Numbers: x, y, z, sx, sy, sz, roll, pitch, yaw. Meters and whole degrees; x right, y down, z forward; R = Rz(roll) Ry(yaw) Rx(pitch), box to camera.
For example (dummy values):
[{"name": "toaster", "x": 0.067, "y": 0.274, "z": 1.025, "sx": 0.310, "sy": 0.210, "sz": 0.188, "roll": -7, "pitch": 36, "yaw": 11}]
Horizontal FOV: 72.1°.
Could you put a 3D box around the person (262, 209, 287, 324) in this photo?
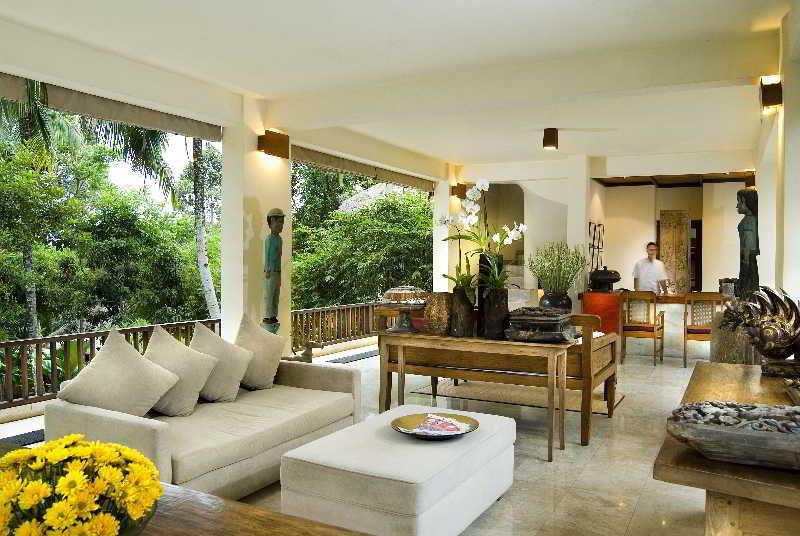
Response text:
[{"name": "person", "x": -1.453, "y": 0.021, "z": 6.257, "sx": 0.233, "sy": 1.388, "sz": 0.355, "roll": 0, "pitch": 1, "yaw": -14}]

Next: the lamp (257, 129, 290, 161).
[{"name": "lamp", "x": -1.579, "y": -1.521, "z": 6.759, "sx": 0.132, "sy": 0.259, "sz": 0.441, "roll": 1, "pitch": 0, "yaw": 27}]

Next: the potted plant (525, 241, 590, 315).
[{"name": "potted plant", "x": 2.364, "y": 0.091, "z": 8.326, "sx": 0.763, "sy": 0.995, "sz": 1.281, "roll": 0, "pitch": 0, "yaw": 17}]

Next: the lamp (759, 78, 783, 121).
[{"name": "lamp", "x": 3.287, "y": -1.531, "z": 4.879, "sx": 0.153, "sy": 0.240, "sz": 0.362, "roll": 0, "pitch": 0, "yaw": 37}]

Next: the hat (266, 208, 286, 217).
[{"name": "hat", "x": -1.417, "y": -0.632, "z": 6.257, "sx": 0.162, "sy": 0.096, "sz": 0.175, "roll": 0, "pitch": 0, "yaw": -15}]

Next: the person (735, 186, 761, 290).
[{"name": "person", "x": 3.558, "y": -0.253, "z": 5.643, "sx": 0.178, "sy": 1.096, "sz": 0.549, "roll": 0, "pitch": 0, "yaw": 31}]

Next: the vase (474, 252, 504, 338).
[{"name": "vase", "x": 0.740, "y": 0.222, "z": 4.433, "sx": 0.251, "sy": 0.673, "sz": 0.709, "roll": 0, "pitch": 0, "yaw": 8}]

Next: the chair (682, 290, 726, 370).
[{"name": "chair", "x": 4.204, "y": 0.868, "z": 7.641, "sx": 0.499, "sy": 1.042, "sz": 3.155, "roll": 0, "pitch": 0, "yaw": 28}]

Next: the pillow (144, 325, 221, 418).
[{"name": "pillow", "x": -1.576, "y": 0.740, "z": 3.923, "sx": 0.602, "sy": 0.560, "sz": 0.180, "roll": 40, "pitch": -31, "yaw": -25}]

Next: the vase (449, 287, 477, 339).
[{"name": "vase", "x": 0.480, "y": 0.356, "z": 4.427, "sx": 0.207, "sy": 0.397, "sz": 0.154, "roll": 0, "pitch": 0, "yaw": 23}]

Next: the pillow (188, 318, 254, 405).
[{"name": "pillow", "x": -1.374, "y": 0.725, "z": 4.204, "sx": 0.537, "sy": 0.520, "sz": 0.268, "roll": 37, "pitch": -35, "yaw": -29}]

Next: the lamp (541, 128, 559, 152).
[{"name": "lamp", "x": 2.105, "y": -1.834, "z": 7.737, "sx": 0.189, "sy": 0.275, "sz": 0.204, "roll": 0, "pitch": 0, "yaw": 8}]

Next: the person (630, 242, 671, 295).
[{"name": "person", "x": 4.133, "y": 0.014, "z": 9.126, "sx": 0.503, "sy": 0.867, "sz": 0.409, "roll": 0, "pitch": 0, "yaw": 17}]
